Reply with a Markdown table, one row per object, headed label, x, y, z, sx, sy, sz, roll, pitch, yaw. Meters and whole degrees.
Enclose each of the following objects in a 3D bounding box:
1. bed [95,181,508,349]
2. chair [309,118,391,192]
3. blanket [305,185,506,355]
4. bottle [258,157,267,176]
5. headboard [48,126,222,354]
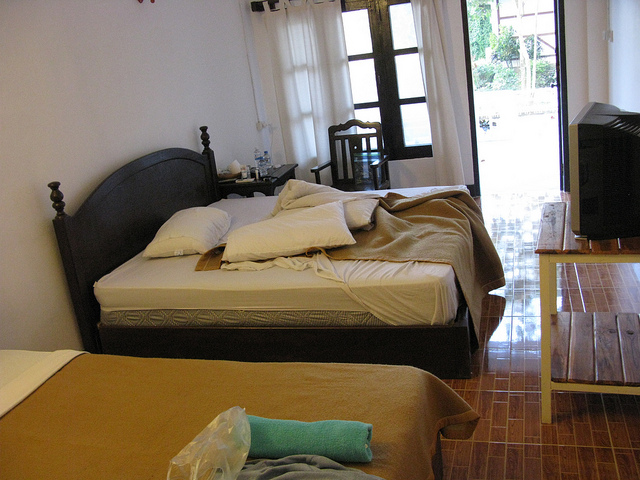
| label | x | y | z | sx | sy | sz | roll | pitch | yaw |
| --- | --- | --- | --- | --- | --- | --- | --- | --- | --- |
| bed | -0.151 | 0.154 | 3.102 | 1.519 | 0.476 | 1.587 | 1 | 19 | 11 |
| chair | 0.343 | -0.650 | 5.297 | 0.701 | 1.225 | 0.741 | -4 | 14 | 6 |
| blanket | 0.676 | 0.085 | 3.392 | 1.082 | 0.565 | 1.136 | 0 | 24 | 12 |
| bottle | -0.573 | -0.736 | 4.962 | 0.077 | 0.157 | 0.281 | -8 | 14 | -5 |
| headboard | -1.272 | -0.050 | 4.013 | 0.137 | 1.515 | 1.871 | 5 | 25 | 19 |
